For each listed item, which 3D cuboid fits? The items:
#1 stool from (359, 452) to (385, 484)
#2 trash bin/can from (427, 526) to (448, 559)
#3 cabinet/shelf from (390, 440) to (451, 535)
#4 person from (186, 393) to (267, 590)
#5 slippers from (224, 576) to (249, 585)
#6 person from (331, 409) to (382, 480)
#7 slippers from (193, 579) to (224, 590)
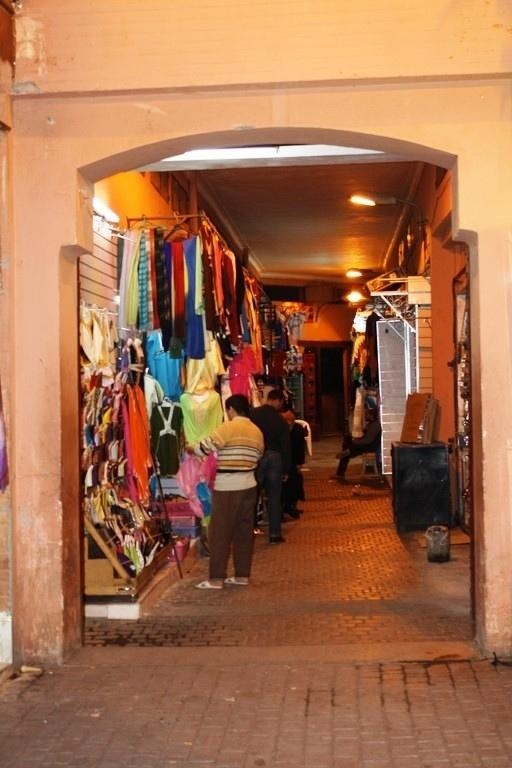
[{"bbox_3d":[2.262,1.616,12.384,0.514,0.702,0.514,0,-10,1],"label":"stool"},{"bbox_3d":[1.636,1.440,5.769,0.187,0.313,0.147,-2,-5,9],"label":"trash bin/can"},{"bbox_3d":[1.964,1.380,7.437,0.702,1.166,0.755,0,-41,11],"label":"cabinet/shelf"},{"bbox_3d":[-0.214,0.852,5.187,0.373,1.547,0.577,-6,-6,40],"label":"person"},{"bbox_3d":[-0.159,1.596,5.249,0.193,0.078,0.073,1,-3,29],"label":"slippers"},{"bbox_3d":[1.886,1.171,12.022,0.844,1.262,1.445,-2,-5,7],"label":"person"},{"bbox_3d":[-0.386,1.613,5.161,0.220,0.088,0.091,1,-6,28],"label":"slippers"}]
